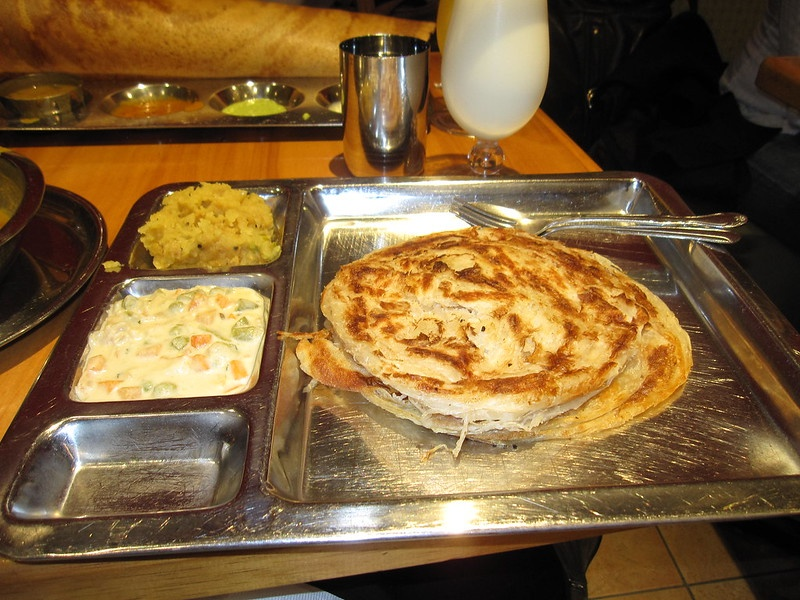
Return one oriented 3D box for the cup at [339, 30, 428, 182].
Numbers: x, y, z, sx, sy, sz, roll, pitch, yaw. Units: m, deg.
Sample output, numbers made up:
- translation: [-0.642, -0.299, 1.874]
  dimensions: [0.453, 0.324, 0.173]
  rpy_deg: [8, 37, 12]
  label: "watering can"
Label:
- translation: [-0.059, -0.674, 2.110]
  dimensions: [0.319, 0.432, 0.391]
  rpy_deg: [5, 50, 0]
  label: "cup"
